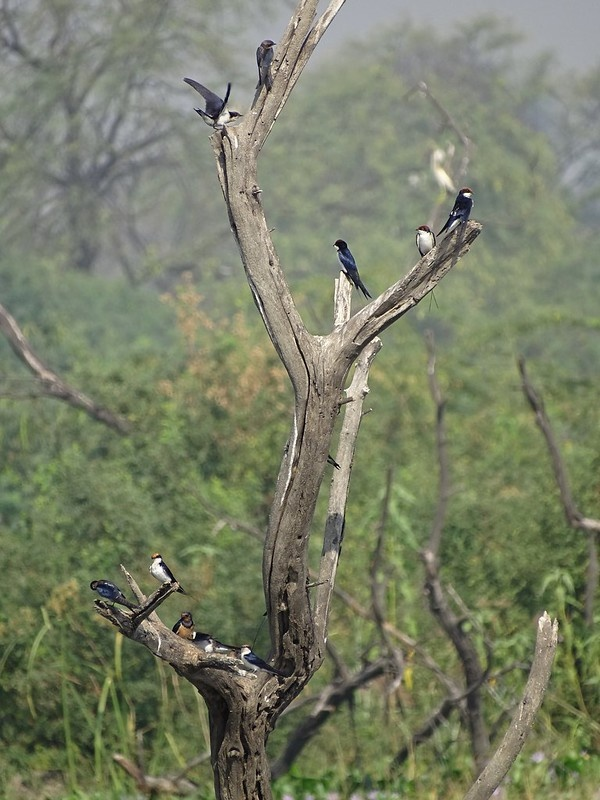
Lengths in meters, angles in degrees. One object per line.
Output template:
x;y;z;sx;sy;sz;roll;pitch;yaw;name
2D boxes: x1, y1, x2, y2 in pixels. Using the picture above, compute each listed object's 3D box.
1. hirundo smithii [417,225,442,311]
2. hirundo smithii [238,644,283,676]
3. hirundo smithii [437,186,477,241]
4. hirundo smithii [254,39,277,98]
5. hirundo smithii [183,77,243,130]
1.084;-1.153;11.513;0.142;0.632;0.219;-1;15;20;hirundo smithii
-0.352;2.046;10.568;0.261;0.238;0.512;15;-18;-29;hirundo smithii
1.257;-1.511;10.748;0.213;0.511;0.310;5;-15;5;hirundo smithii
-0.265;-2.621;10.613;0.144;0.386;0.365;7;-16;-3;hirundo smithii
-0.640;-2.383;10.772;0.402;0.350;0.547;-26;-2;31;hirundo smithii
